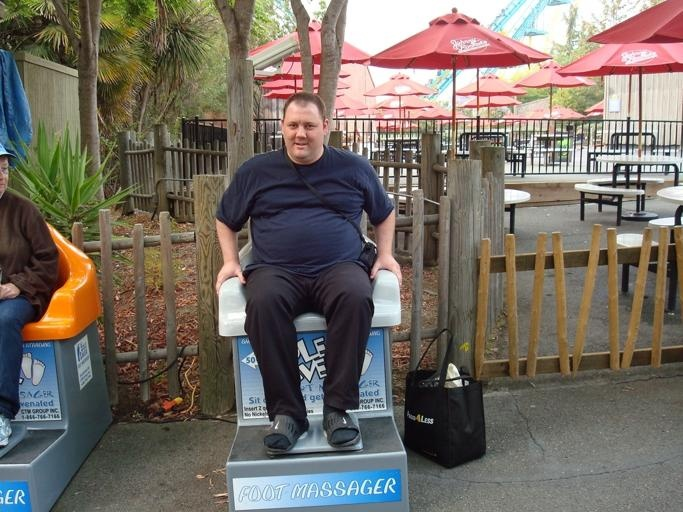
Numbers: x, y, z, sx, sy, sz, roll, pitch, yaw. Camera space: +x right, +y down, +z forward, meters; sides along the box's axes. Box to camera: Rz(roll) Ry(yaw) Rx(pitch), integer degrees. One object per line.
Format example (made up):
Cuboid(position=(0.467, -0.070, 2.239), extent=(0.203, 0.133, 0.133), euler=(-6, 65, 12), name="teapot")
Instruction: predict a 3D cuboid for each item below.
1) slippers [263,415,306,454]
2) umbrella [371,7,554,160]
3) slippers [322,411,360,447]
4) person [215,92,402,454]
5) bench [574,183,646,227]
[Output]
Cuboid(position=(-0.343, 1.005, 3.584), extent=(0.145, 0.197, 0.420), euler=(-3, 9, 12), name="slippers")
Cuboid(position=(1.696, -3.285, 9.237), extent=(2.401, 0.865, 1.705), euler=(1, 9, 21), name="umbrella")
Cuboid(position=(-0.004, 0.993, 3.591), extent=(0.183, 0.149, 0.391), euler=(-6, 4, -9), name="slippers")
Cuboid(position=(-0.270, 0.048, 3.900), extent=(0.906, 2.409, 1.089), euler=(0, 3, -3), name="person")
Cuboid(position=(5.009, -1.051, 11.541), extent=(0.998, 0.704, 3.231), euler=(1, 9, 23), name="bench")
